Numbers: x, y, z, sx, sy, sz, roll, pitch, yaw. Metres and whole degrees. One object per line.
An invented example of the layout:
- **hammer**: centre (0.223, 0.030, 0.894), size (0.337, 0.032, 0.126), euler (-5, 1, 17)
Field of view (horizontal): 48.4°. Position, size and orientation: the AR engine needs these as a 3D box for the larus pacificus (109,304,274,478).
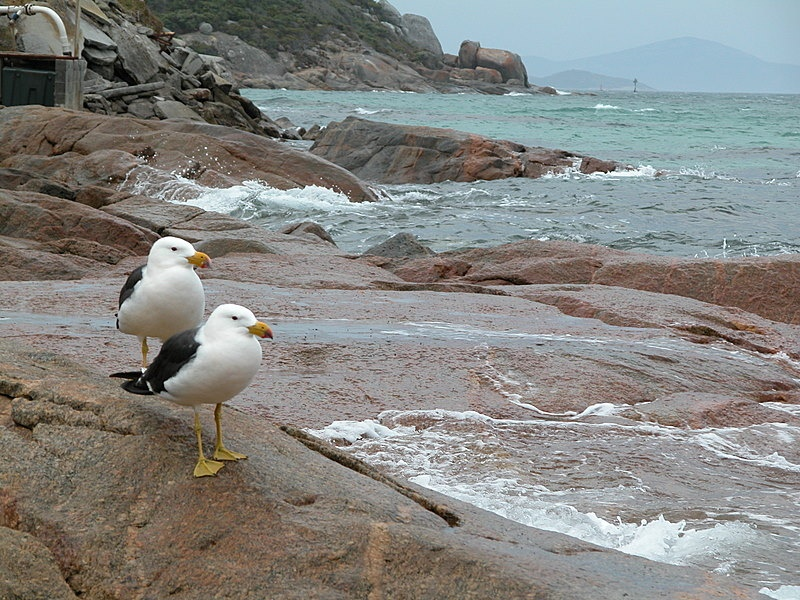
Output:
- **larus pacificus**: centre (-1.246, 0.522, 5.446), size (0.697, 1.048, 0.356), euler (16, 13, 28)
